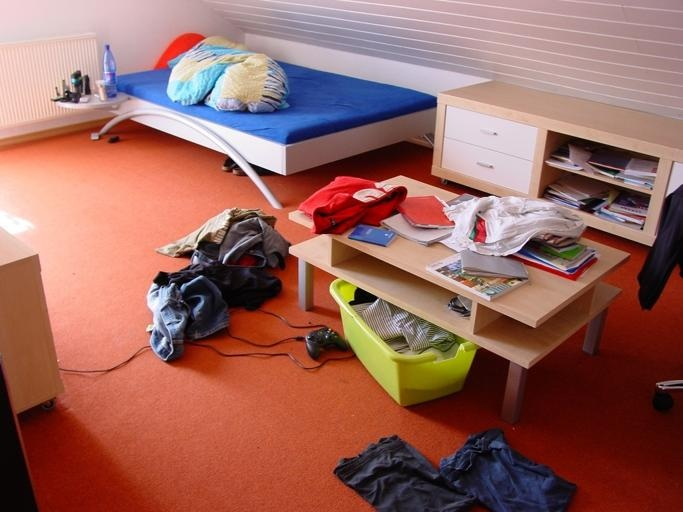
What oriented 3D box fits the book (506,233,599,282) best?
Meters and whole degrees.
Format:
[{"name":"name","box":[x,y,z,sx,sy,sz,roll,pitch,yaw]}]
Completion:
[{"name":"book","box":[0.783,-0.022,1.698,0.192,0.056,0.193,-27,38,-37]}]

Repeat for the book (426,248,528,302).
[{"name":"book","box":[0.446,0.061,1.618,0.260,0.034,0.189,26,40,36]}]

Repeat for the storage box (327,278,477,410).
[{"name":"storage box","box":[0.169,0.286,1.852,0.378,0.179,0.516,-17,35,-29]}]

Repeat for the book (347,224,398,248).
[{"name":"book","box":[0.118,-0.074,1.829,0.135,0.015,0.089,11,34,18]}]
